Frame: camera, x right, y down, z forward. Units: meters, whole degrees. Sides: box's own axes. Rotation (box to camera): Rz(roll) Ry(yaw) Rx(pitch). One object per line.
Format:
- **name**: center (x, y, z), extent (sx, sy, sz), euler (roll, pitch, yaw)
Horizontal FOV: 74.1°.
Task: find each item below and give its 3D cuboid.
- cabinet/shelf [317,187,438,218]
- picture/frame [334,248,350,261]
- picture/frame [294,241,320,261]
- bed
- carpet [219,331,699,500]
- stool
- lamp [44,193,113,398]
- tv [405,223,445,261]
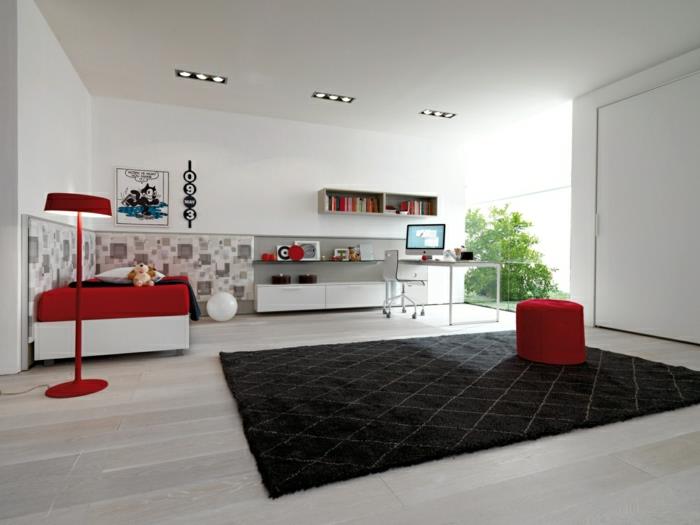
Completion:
- **cabinet/shelf**: center (0.513, -1.021, 7.969), extent (2.192, 0.509, 0.307), euler (-4, 12, -24)
- **picture/frame**: center (-0.139, -0.133, 7.737), extent (0.224, 0.182, 0.072), euler (2, -7, -22)
- **picture/frame**: center (-0.692, -0.193, 7.477), extent (0.351, 0.271, 0.033), euler (0, -4, -25)
- **bed**: center (-2.275, 0.569, 4.493), extent (0.945, 0.435, 0.862), euler (1, 0, -20)
- **carpet**: center (0.950, 1.000, 4.227), extent (3.913, 0.194, 2.539), euler (-4, 11, -22)
- **stool**: center (2.001, 0.630, 4.634), extent (0.671, 0.568, 0.616), euler (0, 0, 28)
- **lamp**: center (-2.396, 0.173, 4.167), extent (0.590, 1.600, 1.514), euler (-5, 12, -26)
- **tv**: center (1.213, -0.329, 7.398), extent (0.660, 0.542, 0.222), euler (-2, -6, 40)
